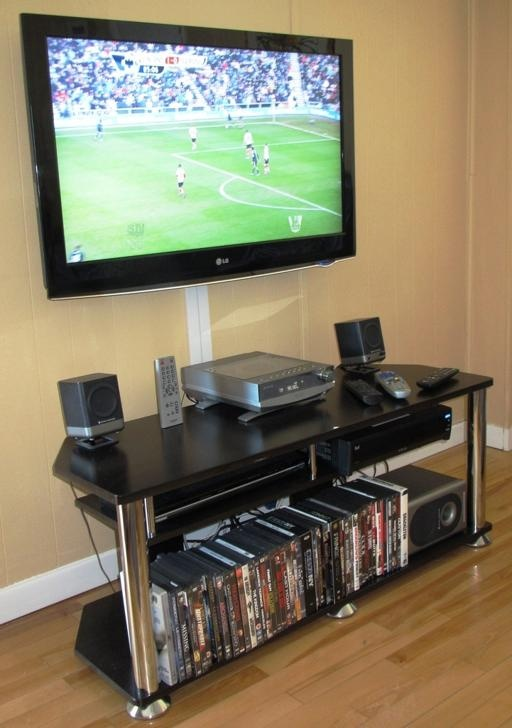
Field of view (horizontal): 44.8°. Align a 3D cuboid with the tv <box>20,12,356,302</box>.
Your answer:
[{"bbox_3d":[-0.237,-0.674,1.982,1.097,0.740,0.076,-12,21,-34],"label":"tv"}]

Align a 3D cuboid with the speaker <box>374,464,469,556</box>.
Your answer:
[{"bbox_3d":[0.536,0.505,2.235,0.350,0.193,0.340,-13,15,-40],"label":"speaker"}]

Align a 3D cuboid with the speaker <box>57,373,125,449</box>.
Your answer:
[{"bbox_3d":[-0.449,0.129,1.720,0.104,0.182,0.136,-4,7,32],"label":"speaker"}]

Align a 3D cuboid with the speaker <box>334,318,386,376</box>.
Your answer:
[{"bbox_3d":[0.403,-0.075,2.384,0.155,0.196,0.156,0,9,35],"label":"speaker"}]

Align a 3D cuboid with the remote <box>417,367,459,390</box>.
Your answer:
[{"bbox_3d":[0.637,0.029,2.160,0.065,0.047,0.202,10,20,36],"label":"remote"}]
